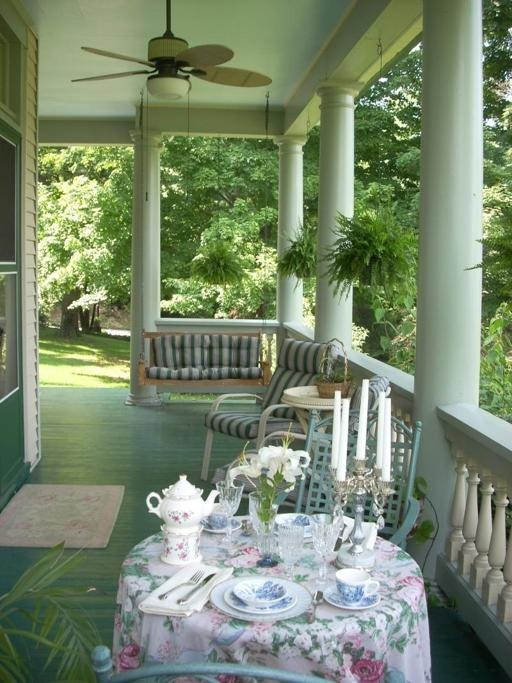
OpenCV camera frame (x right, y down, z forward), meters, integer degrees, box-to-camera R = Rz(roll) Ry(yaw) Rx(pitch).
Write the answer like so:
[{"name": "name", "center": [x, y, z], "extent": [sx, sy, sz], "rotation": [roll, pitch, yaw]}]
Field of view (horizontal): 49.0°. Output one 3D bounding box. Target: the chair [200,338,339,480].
[{"name": "chair", "center": [0.102, 0.491, 4.599], "extent": [1.110, 1.426, 0.982], "rotation": [1, 3, -35]}]

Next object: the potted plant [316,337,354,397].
[{"name": "potted plant", "center": [0.527, 0.168, 3.789], "extent": [0.232, 0.364, 0.264], "rotation": [-10, 13, -35]}]

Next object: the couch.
[{"name": "couch", "center": [-0.565, 0.216, 6.427], "extent": [1.371, 0.651, 0.578], "rotation": [0, 3, -4]}]

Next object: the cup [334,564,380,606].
[{"name": "cup", "center": [0.220, 0.532, 1.222], "extent": [0.065, 0.051, 0.081], "rotation": [0, -1, -45]}]

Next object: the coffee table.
[{"name": "coffee table", "center": [0.384, 0.392, 3.793], "extent": [0.416, 0.327, 0.421], "rotation": [1, 1, 45]}]

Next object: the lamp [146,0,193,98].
[{"name": "lamp", "center": [-0.536, -1.838, 3.409], "extent": [0.262, 0.617, 0.505], "rotation": [-2, 5, -8]}]

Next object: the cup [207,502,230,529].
[{"name": "cup", "center": [-0.109, 0.527, 1.701], "extent": [0.071, 0.051, 0.061], "rotation": [3, 0, 5]}]
